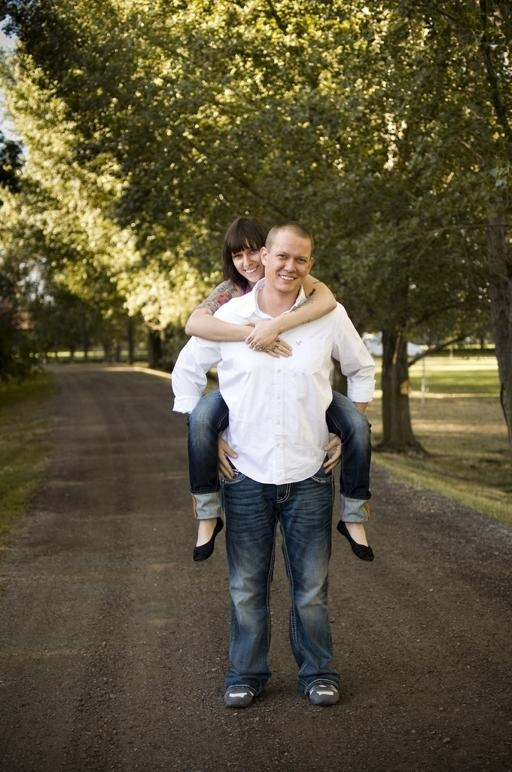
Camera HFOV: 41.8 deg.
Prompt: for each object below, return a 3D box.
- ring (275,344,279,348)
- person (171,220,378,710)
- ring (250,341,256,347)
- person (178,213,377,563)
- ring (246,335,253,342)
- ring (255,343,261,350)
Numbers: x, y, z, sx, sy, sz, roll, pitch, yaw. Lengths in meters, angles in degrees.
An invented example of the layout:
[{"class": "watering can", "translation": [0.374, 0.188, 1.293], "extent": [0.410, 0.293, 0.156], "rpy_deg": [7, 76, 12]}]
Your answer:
[{"class": "ring", "translation": [0.079, -0.149, 2.468], "extent": [0.015, 0.014, 0.004], "rpy_deg": [-4, -7, -7]}, {"class": "person", "translation": [0.087, 0.506, 2.696], "extent": [0.838, 1.667, 0.405], "rpy_deg": [0, 1, -8]}, {"class": "ring", "translation": [-0.008, -0.156, 2.458], "extent": [0.008, 0.021, 0.017], "rpy_deg": [-15, 1, 9]}, {"class": "person", "translation": [0.122, -0.035, 2.897], "extent": [0.794, 1.402, 0.705], "rpy_deg": [0, 1, 16]}, {"class": "ring", "translation": [-0.021, -0.174, 2.461], "extent": [0.024, 0.022, 0.007], "rpy_deg": [-2, -5, 20]}, {"class": "ring", "translation": [0.007, -0.148, 2.453], "extent": [0.016, 0.021, 0.008], "rpy_deg": [-1, -1, -4]}]
